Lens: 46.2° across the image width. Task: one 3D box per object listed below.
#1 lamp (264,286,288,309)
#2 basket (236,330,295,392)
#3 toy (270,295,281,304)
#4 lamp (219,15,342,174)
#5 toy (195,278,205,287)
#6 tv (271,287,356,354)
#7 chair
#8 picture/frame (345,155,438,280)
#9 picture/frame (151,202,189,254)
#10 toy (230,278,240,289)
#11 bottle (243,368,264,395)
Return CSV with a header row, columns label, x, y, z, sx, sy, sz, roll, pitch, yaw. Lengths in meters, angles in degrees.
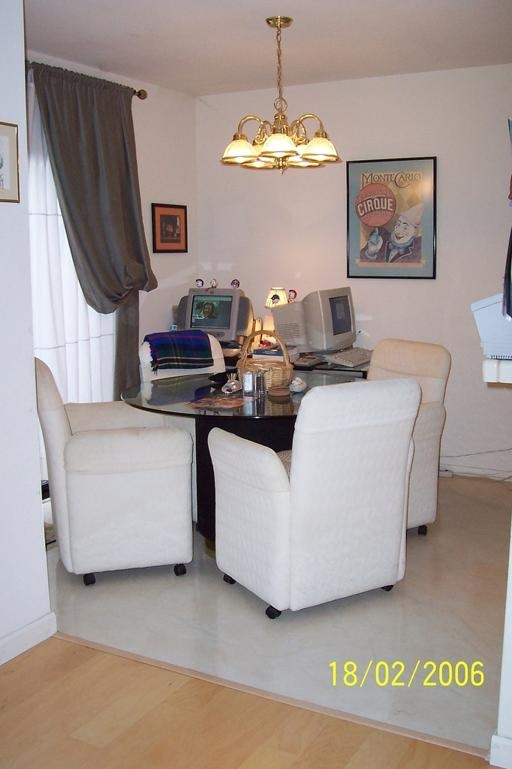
label,x,y,z,sx,sy,sz,roll,pitch,yaw
lamp,0.156,-0.637,4.405,0.174,0.196,0.186,3,15,19
basket,0.038,-0.129,2.803,0.214,0.233,0.152,6,5,-2
toy,0.126,-0.599,4.347,0.068,0.056,0.059,0,-1,4
lamp,0.075,-1.308,2.701,0.446,0.603,0.531,6,15,38
toy,-0.452,-0.791,4.769,0.079,0.032,0.079,-18,25,-37
tv,0.385,-0.436,4.099,0.518,0.406,0.562,-5,11,-5
chair,-0.011,0.296,2.864,1.926,0.983,1.135,-2,5,-22
picture/frame,0.960,-1.176,4.158,0.756,1.060,0.037,5,13,30
picture/frame,-0.650,-1.179,4.557,0.319,0.336,0.015,10,16,32
toy,-0.152,-0.753,4.567,0.091,0.095,0.030,13,14,39
bottle,-0.009,-0.004,2.700,0.092,0.112,0.061,9,14,40
